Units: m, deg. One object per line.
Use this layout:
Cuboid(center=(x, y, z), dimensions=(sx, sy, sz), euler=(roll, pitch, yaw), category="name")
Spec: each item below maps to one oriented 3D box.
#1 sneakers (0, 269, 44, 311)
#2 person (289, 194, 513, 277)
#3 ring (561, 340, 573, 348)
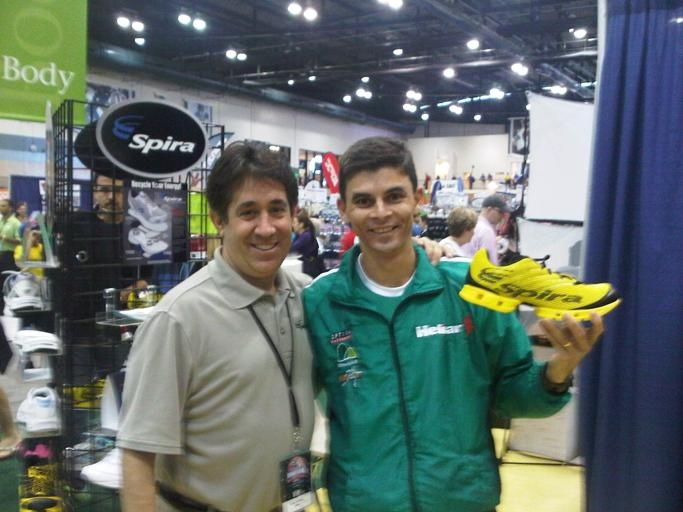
Cuboid(center=(-1.927, 0.213, 3.405), dimensions=(0.276, 0.284, 0.204), euler=(-2, -3, -11), category="sneakers")
Cuboid(center=(0.588, -0.195, 4.929), dimensions=(1.536, 0.550, 1.489), euler=(5, -10, -33), category="person")
Cuboid(center=(0.807, 0.309, 1.998), dimensions=(0.023, 0.023, 0.005), euler=(38, 20, 5), category="ring")
